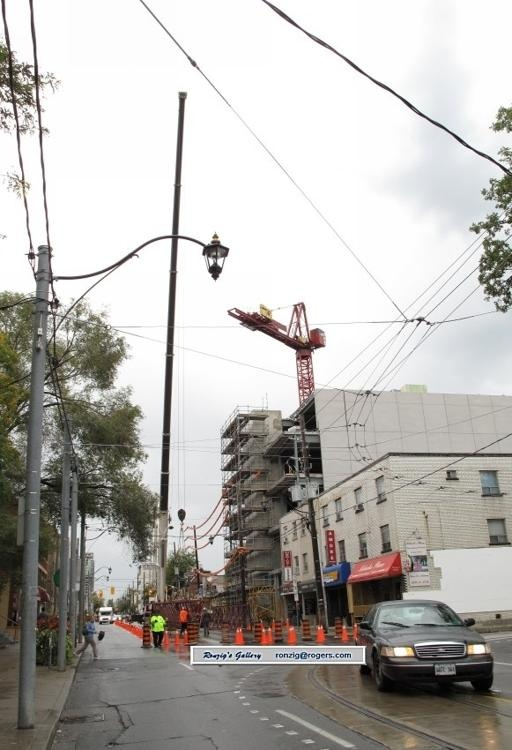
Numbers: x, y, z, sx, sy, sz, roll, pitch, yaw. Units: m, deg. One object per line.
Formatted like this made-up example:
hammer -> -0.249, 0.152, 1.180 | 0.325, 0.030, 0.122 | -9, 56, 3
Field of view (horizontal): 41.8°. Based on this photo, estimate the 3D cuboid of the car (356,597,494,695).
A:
car -> 2.630, 4.423, 11.246 | 1.752, 1.281, 3.959 | -1, -19, 0
